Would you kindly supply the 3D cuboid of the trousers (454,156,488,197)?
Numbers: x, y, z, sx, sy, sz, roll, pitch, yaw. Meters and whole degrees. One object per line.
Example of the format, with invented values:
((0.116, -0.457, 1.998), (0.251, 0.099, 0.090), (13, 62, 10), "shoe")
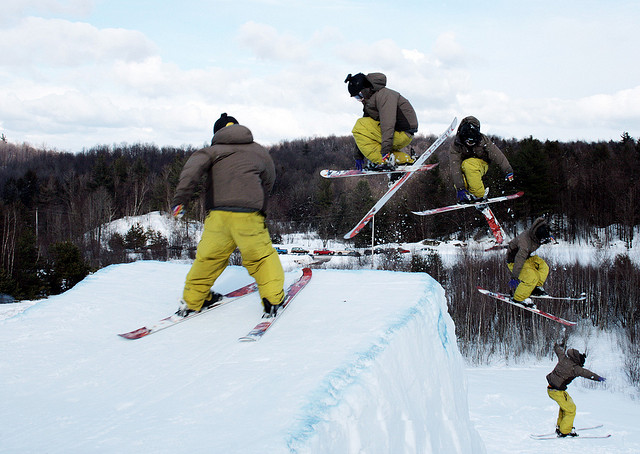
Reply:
((3.995, -1.291, 14.680), (0.680, 1.035, 0.340), (-3, 2, -25), "trousers")

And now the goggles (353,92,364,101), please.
((0.930, -3.023, 13.280), (0.189, 0.167, 0.140), (-3, 2, -38), "goggles")

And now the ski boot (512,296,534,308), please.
((5.433, 2.032, 15.269), (0.596, 0.264, 0.201), (30, -4, 14), "ski boot")

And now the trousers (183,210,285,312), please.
((-1.558, 0.595, 10.364), (1.768, 1.838, 0.340), (-2, 2, 11), "trousers")

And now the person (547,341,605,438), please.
((6.517, 4.123, 14.752), (1.130, 3.655, 1.267), (-7, 7, 13), "person")

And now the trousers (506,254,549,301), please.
((5.545, 1.346, 15.057), (0.921, 1.170, 0.375), (-3, 2, -15), "trousers")

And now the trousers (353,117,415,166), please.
((1.478, -2.020, 13.541), (1.344, 1.155, 0.765), (-2, 2, -4), "trousers")
